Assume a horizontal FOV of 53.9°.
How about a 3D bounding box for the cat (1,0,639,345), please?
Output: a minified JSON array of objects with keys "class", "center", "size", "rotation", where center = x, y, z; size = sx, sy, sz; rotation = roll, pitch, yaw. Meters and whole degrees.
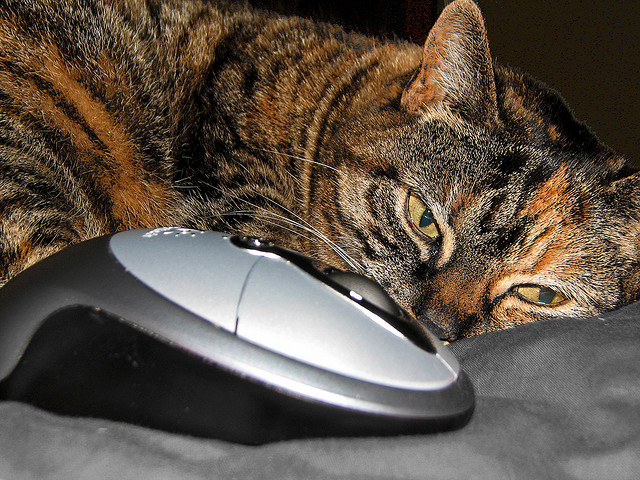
[{"class":"cat","center":[0.021,-0.085,1.168],"size":[0.997,0.605,0.333],"rotation":[7,102,-31]}]
